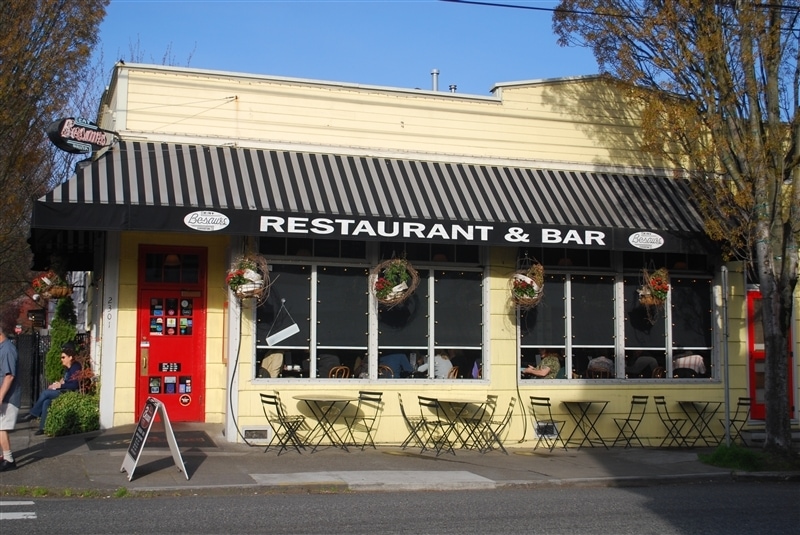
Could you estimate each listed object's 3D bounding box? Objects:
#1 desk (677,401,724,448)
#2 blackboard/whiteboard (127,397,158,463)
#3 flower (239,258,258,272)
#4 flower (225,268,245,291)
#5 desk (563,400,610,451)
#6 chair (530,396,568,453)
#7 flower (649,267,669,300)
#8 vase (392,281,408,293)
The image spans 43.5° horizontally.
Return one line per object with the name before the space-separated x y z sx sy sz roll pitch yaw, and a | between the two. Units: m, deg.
desk | 7.165 3.680 24.029 0.958 0.754 0.964 10 -9 -20
blackboard/whiteboard | -4.868 3.121 18.883 0.091 1.353 0.730 23 -8 -29
flower | -3.281 -0.068 21.742 0.315 0.218 0.312 1 -1 -3
flower | -3.513 0.254 21.691 0.462 0.462 0.468 -2 0 38
desk | 4.319 3.674 23.430 0.966 1.021 0.887 2 -6 -18
chair | 3.408 3.549 23.150 0.862 1.184 0.426 3 5 6
flower | 6.128 0.404 23.626 0.493 0.694 0.424 10 1 0
vase | 0.006 0.464 22.389 0.336 0.196 0.097 -33 6 -5
